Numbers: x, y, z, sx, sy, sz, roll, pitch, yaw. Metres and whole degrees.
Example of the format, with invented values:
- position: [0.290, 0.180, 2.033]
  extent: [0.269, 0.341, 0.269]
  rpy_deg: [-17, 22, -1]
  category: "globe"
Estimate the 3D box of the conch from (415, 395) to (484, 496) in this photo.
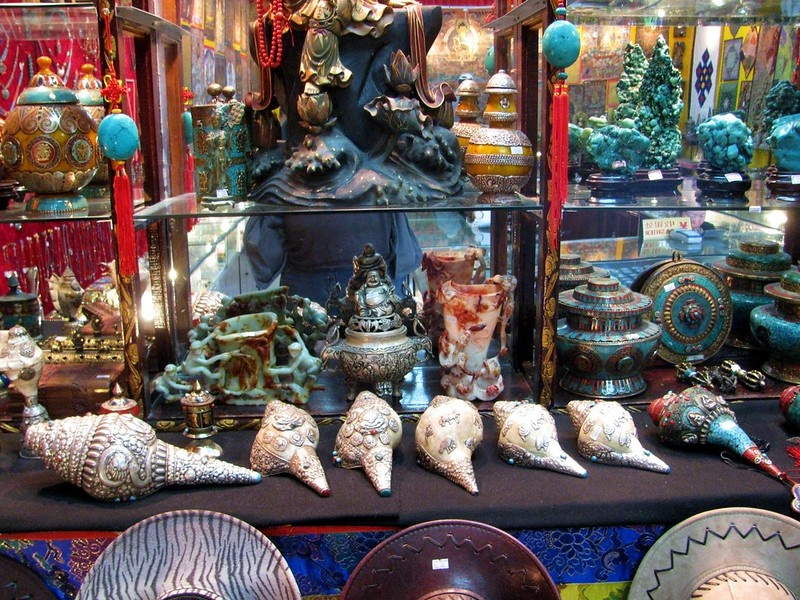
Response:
- position: [0.127, 0.383, 1.665]
  extent: [0.160, 0.174, 0.300]
  rpy_deg: [-8, 32, 12]
  category: "conch"

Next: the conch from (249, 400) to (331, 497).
- position: [-0.272, 0.356, 1.633]
  extent: [0.149, 0.109, 0.216]
  rpy_deg: [-19, 49, -25]
  category: "conch"

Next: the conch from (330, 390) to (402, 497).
- position: [-0.080, 0.351, 1.698]
  extent: [0.165, 0.133, 0.341]
  rpy_deg: [-3, 31, -4]
  category: "conch"

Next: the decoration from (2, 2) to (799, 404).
- position: [-0.030, -0.357, 2.221]
  extent: [2.119, 1.121, 1.023]
  rpy_deg: [-2, 14, -2]
  category: "decoration"

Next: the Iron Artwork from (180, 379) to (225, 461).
- position: [-0.505, 0.309, 1.678]
  extent: [0.092, 0.200, 0.094]
  rpy_deg: [-4, 3, -37]
  category: "Iron Artwork"

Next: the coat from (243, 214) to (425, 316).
- position: [-0.276, -0.202, 2.569]
  extent: [0.565, 0.614, 0.333]
  rpy_deg: [1, 10, 7]
  category: "coat"

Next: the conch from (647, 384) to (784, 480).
- position: [0.777, 0.316, 1.698]
  extent: [0.330, 0.142, 0.117]
  rpy_deg: [34, 30, 29]
  category: "conch"

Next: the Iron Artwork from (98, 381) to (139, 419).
- position: [-0.698, 0.256, 1.665]
  extent: [0.084, 0.071, 0.087]
  rpy_deg: [1, 1, 34]
  category: "Iron Artwork"

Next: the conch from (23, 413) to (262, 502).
- position: [-0.598, 0.380, 1.655]
  extent: [0.511, 0.209, 0.219]
  rpy_deg: [14, -22, -7]
  category: "conch"

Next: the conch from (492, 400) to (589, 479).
- position: [0.344, 0.348, 1.656]
  extent: [0.127, 0.095, 0.211]
  rpy_deg: [-32, 50, -31]
  category: "conch"
